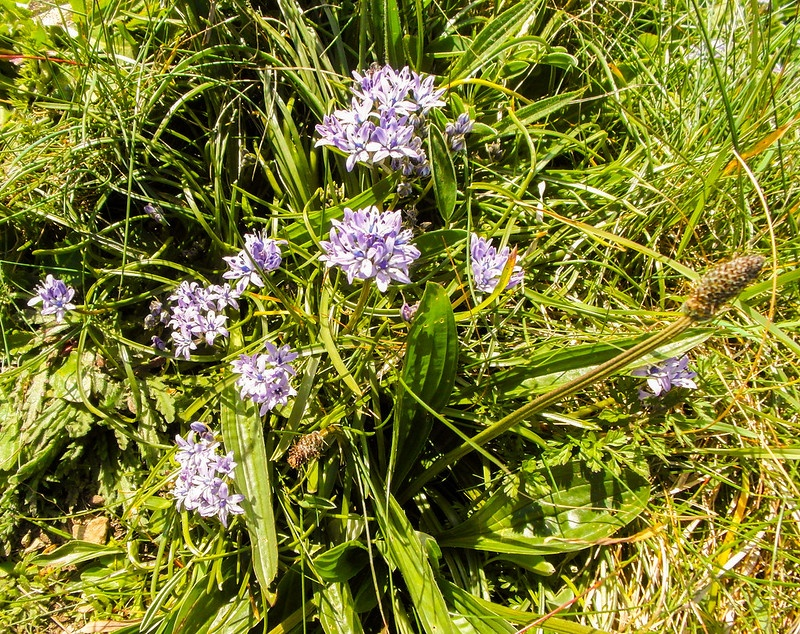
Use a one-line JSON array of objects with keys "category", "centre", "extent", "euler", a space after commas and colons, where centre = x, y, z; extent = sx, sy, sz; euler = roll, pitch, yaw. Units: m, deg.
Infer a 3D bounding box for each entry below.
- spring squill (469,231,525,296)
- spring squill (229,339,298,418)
[{"category": "spring squill", "centre": [0.305, -0.177, 2.405], "extent": [0.156, 0.201, 0.226], "euler": [1, 103, -1]}, {"category": "spring squill", "centre": [-0.440, 0.202, 2.432], "extent": [0.210, 0.169, 0.192], "euler": [-20, 76, -8]}]
